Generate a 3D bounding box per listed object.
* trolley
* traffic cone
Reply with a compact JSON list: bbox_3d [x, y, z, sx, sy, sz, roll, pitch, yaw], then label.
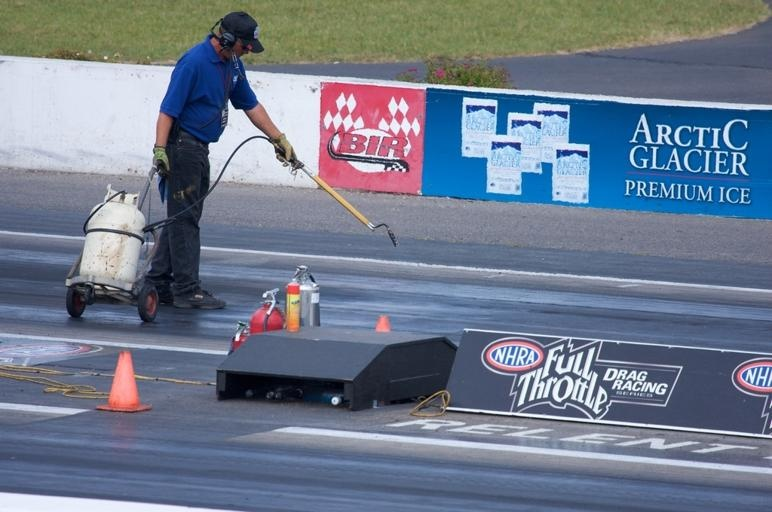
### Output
[{"bbox_3d":[-4.892,-0.421,44.387,1.949,2.968,2.119,4,-6,37],"label":"trolley"},{"bbox_3d":[-4.558,2.149,41.575,0.890,1.045,0.569,2,7,-19],"label":"traffic cone"}]
